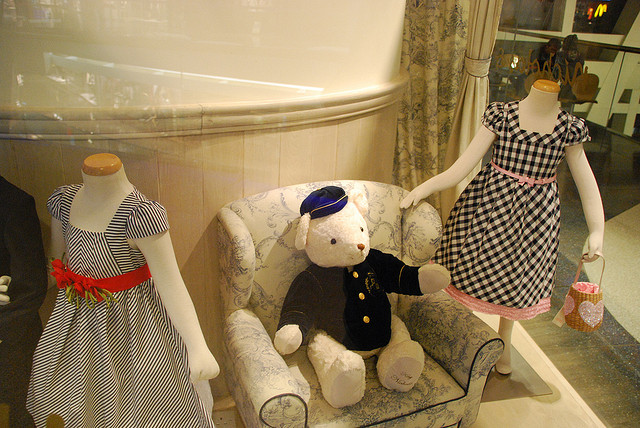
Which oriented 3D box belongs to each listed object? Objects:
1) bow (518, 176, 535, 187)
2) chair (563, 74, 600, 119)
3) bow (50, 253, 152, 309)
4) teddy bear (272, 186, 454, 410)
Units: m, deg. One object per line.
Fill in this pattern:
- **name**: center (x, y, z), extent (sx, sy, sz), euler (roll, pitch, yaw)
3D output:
- **bow**: center (0.921, -0.145, 2.110), extent (0.046, 0.032, 0.007), euler (6, 16, 5)
- **chair**: center (1.299, -0.580, 2.389), extent (0.167, 0.246, 0.172), euler (4, 17, 21)
- **bow**: center (-0.738, 0.224, 1.641), extent (0.226, 0.153, 0.312), euler (4, 10, 35)
- **teddy bear**: center (0.138, 0.324, 2.004), extent (0.819, 0.843, 0.535), euler (-5, 16, -25)
